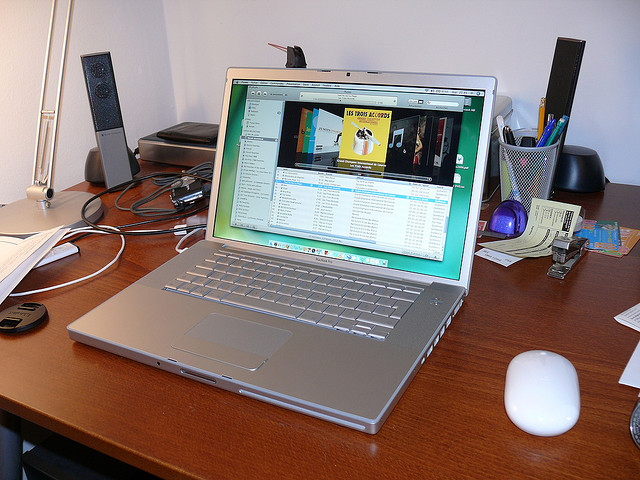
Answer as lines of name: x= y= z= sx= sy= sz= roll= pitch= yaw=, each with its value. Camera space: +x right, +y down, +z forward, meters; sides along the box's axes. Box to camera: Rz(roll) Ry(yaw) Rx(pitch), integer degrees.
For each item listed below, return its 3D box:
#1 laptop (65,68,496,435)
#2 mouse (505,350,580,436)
laptop: x=-0.062 y=-0.054 z=0.712 sx=0.617 sy=0.315 sz=0.558 roll=19 pitch=34 yaw=41
mouse: x=0.273 y=0.187 z=0.570 sx=0.083 sy=0.070 sz=0.083 roll=11 pitch=23 yaw=24
